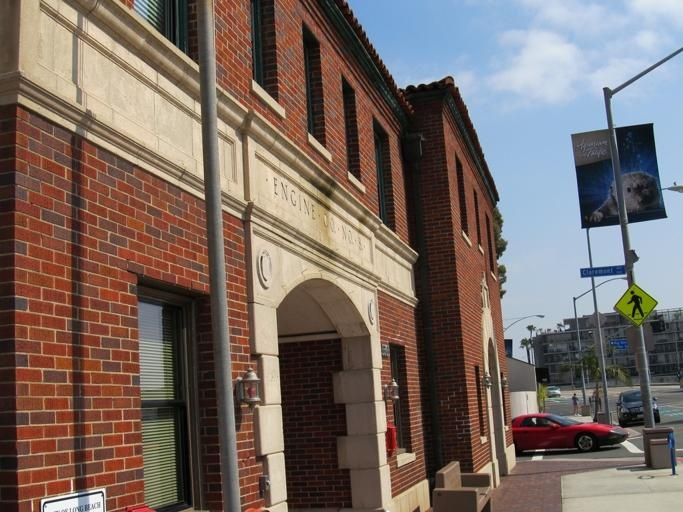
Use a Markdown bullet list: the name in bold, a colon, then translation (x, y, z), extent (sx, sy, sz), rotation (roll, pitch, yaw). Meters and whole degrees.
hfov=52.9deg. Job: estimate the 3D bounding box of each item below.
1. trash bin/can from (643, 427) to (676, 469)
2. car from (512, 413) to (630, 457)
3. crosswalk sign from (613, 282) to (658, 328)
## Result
- **trash bin/can**: translation (8.113, 4.920, 17.600), extent (0.650, 1.034, 0.994), rotation (-12, -16, 17)
- **car**: translation (8.728, 6.913, 26.736), extent (3.530, 1.160, 2.192), rotation (-9, -9, 19)
- **crosswalk sign**: translation (7.256, 1.220, 16.878), extent (1.016, 1.171, 0.095), rotation (-6, -22, 16)
